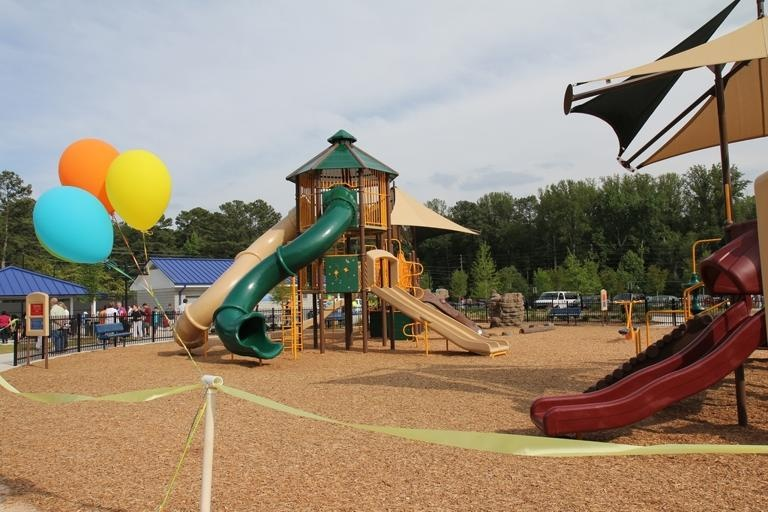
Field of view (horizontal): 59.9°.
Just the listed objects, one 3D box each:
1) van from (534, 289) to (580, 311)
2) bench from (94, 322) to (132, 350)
[{"bbox_3d":[11.943,2.796,46.132,2.927,1.420,2.038,6,-9,-18],"label":"van"},{"bbox_3d":[-9.886,2.885,24.184,1.059,0.874,2.500,0,-8,-15],"label":"bench"}]
